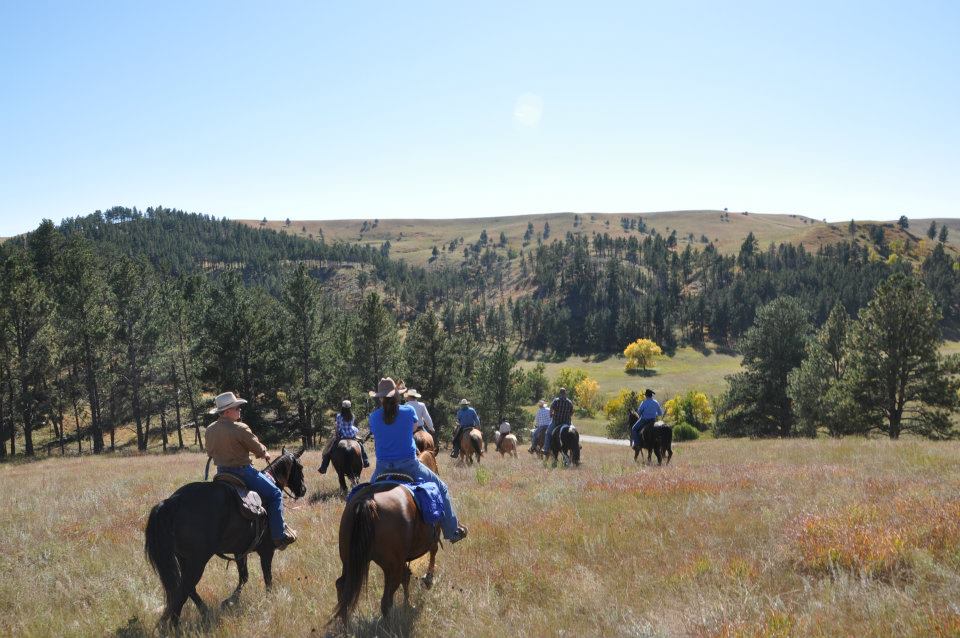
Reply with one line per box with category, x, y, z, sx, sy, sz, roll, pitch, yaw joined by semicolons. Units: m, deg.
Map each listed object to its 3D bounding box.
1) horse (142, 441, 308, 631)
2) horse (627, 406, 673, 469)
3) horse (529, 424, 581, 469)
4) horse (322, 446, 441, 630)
horse;-17.549;11.874;48.670;3.601;10.961;12.900;0;2;38
horse;11.994;8.345;63.521;1.462;4.434;5.326;0;-3;-23
horse;5.948;9.134;63.474;1.769;3.026;3.155;-2;2;-22
horse;-5.316;12.611;48.262;2.533;7.064;6.495;-1;-2;4
